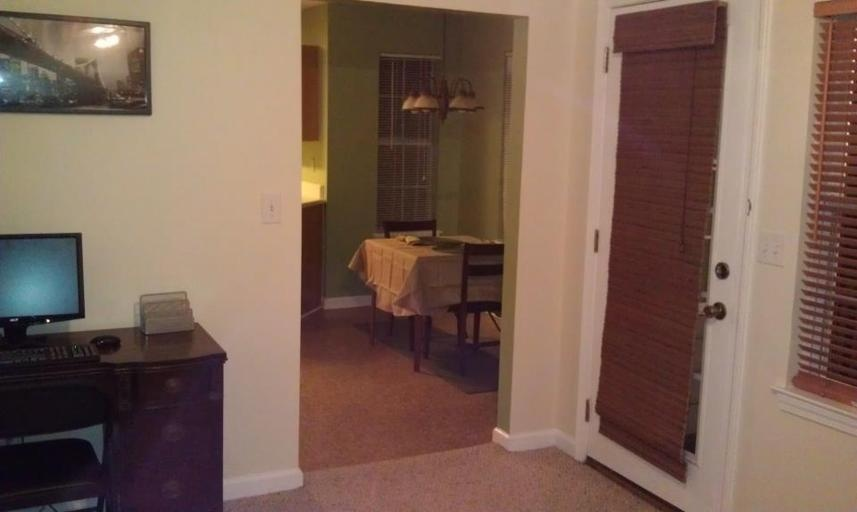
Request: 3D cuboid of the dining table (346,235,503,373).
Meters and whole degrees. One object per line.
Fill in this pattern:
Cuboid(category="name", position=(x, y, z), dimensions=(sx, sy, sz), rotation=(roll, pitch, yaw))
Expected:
Cuboid(category="dining table", position=(0.013, 0.366, 5.932), dimensions=(1.296, 0.886, 1.258), rotation=(-1, 7, -24))

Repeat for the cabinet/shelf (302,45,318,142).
Cuboid(category="cabinet/shelf", position=(-1.282, -1.793, 7.040), dimensions=(0.189, 1.000, 0.463), rotation=(0, 15, -9))
